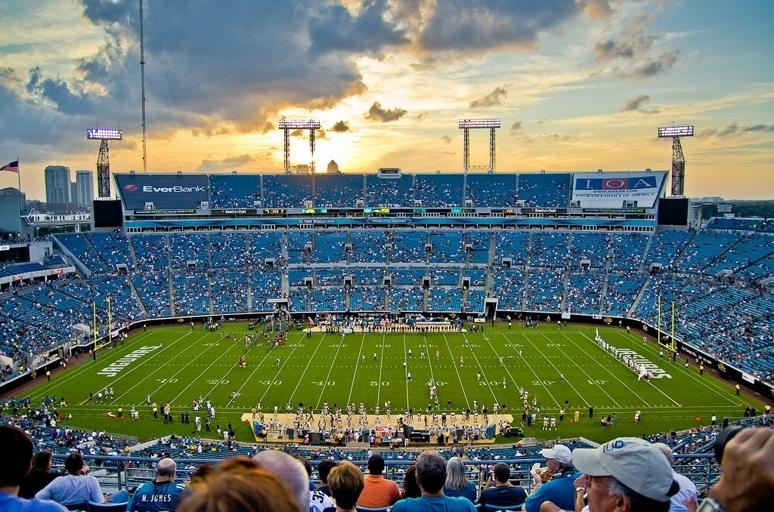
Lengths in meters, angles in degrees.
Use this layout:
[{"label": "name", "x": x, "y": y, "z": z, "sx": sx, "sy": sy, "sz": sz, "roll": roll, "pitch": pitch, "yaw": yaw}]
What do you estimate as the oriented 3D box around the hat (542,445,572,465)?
[{"label": "hat", "x": 7.895, "y": 9.187, "z": 31.656, "sx": 1.247, "sy": 0.892, "sz": 0.467, "roll": 2, "pitch": 11, "yaw": 10}]
